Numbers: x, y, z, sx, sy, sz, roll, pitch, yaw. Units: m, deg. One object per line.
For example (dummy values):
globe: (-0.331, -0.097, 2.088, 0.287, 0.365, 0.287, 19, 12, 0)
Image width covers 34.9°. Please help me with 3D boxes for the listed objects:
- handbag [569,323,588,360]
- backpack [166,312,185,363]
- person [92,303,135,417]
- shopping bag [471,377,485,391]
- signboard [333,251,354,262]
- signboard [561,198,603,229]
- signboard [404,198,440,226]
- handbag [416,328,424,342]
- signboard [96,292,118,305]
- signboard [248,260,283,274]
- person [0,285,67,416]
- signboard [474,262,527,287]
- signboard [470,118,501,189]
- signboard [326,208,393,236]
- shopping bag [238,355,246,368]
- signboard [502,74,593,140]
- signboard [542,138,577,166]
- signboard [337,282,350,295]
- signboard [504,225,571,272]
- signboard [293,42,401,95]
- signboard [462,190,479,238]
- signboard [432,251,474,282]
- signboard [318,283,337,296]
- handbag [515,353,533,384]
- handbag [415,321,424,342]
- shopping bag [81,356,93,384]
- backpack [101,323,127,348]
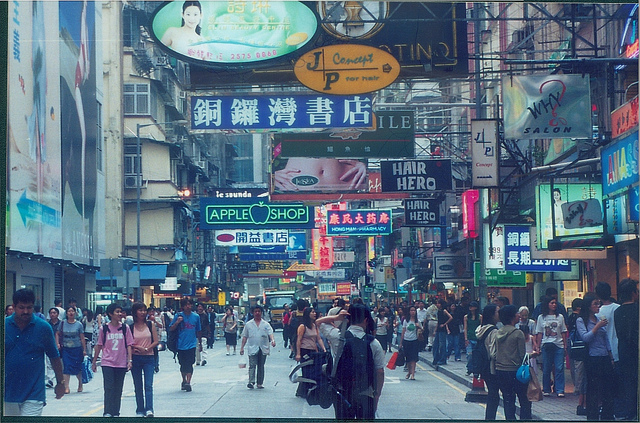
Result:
handbag: (6.242, 3.139, 24.628, 0.424, 0.869, 0.278, -2, -8, 15)
backpack: (-4.154, 3.649, 28.961, 0.350, 0.964, 0.676, 3, 1, -13)
person: (-5.061, 3.641, 25.150, 0.903, 2.746, 0.553, 2, -8, -13)
shopping bag: (4.320, 4.709, 27.779, 0.331, 0.322, 0.339, -1, -8, 5)
signboard: (1.905, 3.540, 81.546, 1.446, 0.889, 2.126, 1, -9, -5)
signboard: (7.530, 0.071, 29.163, 0.843, 0.655, 0.115, -5, 5, 23)
signboard: (3.848, 0.002, 38.636, 1.011, 0.724, 0.136, 2, -12, -17)
handbag: (3.149, 3.880, 32.042, 0.091, 0.341, 0.242, -3, -13, 23)
signboard: (-7.835, 3.197, 37.482, 0.763, 0.611, 2.839, 2, -9, -12)
signboard: (-4.414, 4.394, 81.387, 4.455, 0.373, 1.588, 4, -24, -28)
person: (-6.246, 3.053, 22.202, 1.203, 2.705, 0.529, 2, -8, -15)
signboard: (6.255, 2.152, 35.563, 1.769, 1.010, 0.158, 0, -12, 29)
signboard: (4.647, -1.666, 28.587, 0.779, 1.975, 0.451, -1, -8, 10)
signboard: (1.633, 0.381, 41.732, 2.202, 1.383, 3.849, 1, -9, -10)
shopping bag: (-2.154, 4.154, 27.868, 0.200, 0.415, 0.198, -7, 7, -34)
signboard: (6.043, -2.794, 27.103, 1.710, 1.298, 0.089, -1, -6, 4)
signboard: (7.871, -2.133, 33.768, 0.077, 0.795, 2.382, 6, 21, 39)
signboard: (1.913, 6.287, 83.137, 0.980, 1.019, 1.566, 0, -8, 0)
signboard: (6.905, 1.169, 32.088, 1.480, 1.111, 0.201, 0, -1, 34)
signboard: (0.767, -3.794, 27.259, 2.730, 1.401, 0.108, -2, 10, -26)
signboard: (5.981, 0.063, 40.462, 0.634, 2.022, 1.848, 1, -2, -2)
signboard: (4.937, 1.984, 36.437, 1.541, 1.097, 0.820, -4, -10, 24)
signboard: (0.573, 6.379, 82.854, 1.672, 1.076, 0.903, 1, -7, -5)
handbag: (4.712, 3.632, 23.601, 0.396, 0.688, 0.205, -1, -8, 8)
handbag: (3.176, 3.848, 32.134, 0.178, 0.489, 0.339, -5, -9, 32)
shopping bag: (-6.548, 4.436, 28.647, 0.297, 0.757, 0.920, 2, -8, -12)
backpack: (-5.064, 3.019, 25.101, 0.581, 0.687, 0.478, 1, -9, -4)
